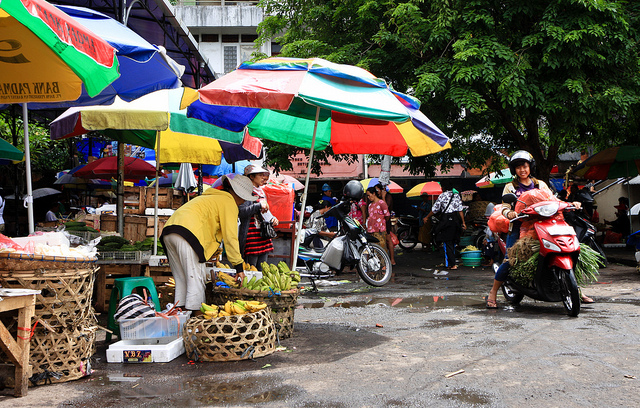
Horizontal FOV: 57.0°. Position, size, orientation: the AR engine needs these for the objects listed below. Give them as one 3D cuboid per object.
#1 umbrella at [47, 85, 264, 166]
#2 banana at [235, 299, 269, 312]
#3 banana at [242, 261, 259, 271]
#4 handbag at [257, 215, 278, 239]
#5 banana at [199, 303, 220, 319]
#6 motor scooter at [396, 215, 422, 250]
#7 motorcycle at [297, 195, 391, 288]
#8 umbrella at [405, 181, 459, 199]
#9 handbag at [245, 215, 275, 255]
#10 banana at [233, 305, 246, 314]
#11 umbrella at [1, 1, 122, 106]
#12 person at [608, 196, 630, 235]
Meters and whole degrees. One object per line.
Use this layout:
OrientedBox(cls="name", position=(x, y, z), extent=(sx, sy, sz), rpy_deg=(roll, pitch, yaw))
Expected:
OrientedBox(cls="umbrella", position=(-2.828, -1.443, 10.598), extent=(3.419, 0.994, 3.145), rpy_deg=(2, -9, 2))
OrientedBox(cls="banana", position=(-0.917, 1.369, 7.821), extent=(0.337, 0.118, 0.156), rpy_deg=(9, -27, -7))
OrientedBox(cls="banana", position=(-1.105, 0.935, 8.991), extent=(0.285, 0.100, 0.149), rpy_deg=(25, -6, -12))
OrientedBox(cls="handbag", position=(-0.969, 0.408, 10.468), extent=(0.440, 0.474, 0.244), rpy_deg=(-8, -5, 5))
OrientedBox(cls="banana", position=(-1.458, 1.391, 7.703), extent=(0.223, 0.095, 0.163), rpy_deg=(16, -6, -21))
OrientedBox(cls="motor scooter", position=(3.115, 1.008, 21.113), extent=(0.763, 1.178, 0.869), rpy_deg=(1, 11, 4))
OrientedBox(cls="motorcycle", position=(0.026, 0.873, 12.701), extent=(3.079, 1.775, 1.013), rpy_deg=(-2, -4, 6))
OrientedBox(cls="umbrella", position=(3.934, -0.502, 20.669), extent=(1.274, 0.376, 1.155), rpy_deg=(0, -4, -2))
OrientedBox(cls="handbag", position=(-1.085, 0.539, 10.679), extent=(0.387, 0.635, 0.552), rpy_deg=(-15, -1, -17))
OrientedBox(cls="banana", position=(-1.073, 1.376, 7.726), extent=(0.203, 0.056, 0.071), rpy_deg=(33, -26, 23))
OrientedBox(cls="umbrella", position=(-3.157, -1.699, 6.974), extent=(1.393, 0.638, 1.257), rpy_deg=(0, -14, -4))
OrientedBox(cls="person", position=(10.752, 0.436, 21.085), extent=(0.604, 1.244, 1.657), rpy_deg=(5, 12, 26))
